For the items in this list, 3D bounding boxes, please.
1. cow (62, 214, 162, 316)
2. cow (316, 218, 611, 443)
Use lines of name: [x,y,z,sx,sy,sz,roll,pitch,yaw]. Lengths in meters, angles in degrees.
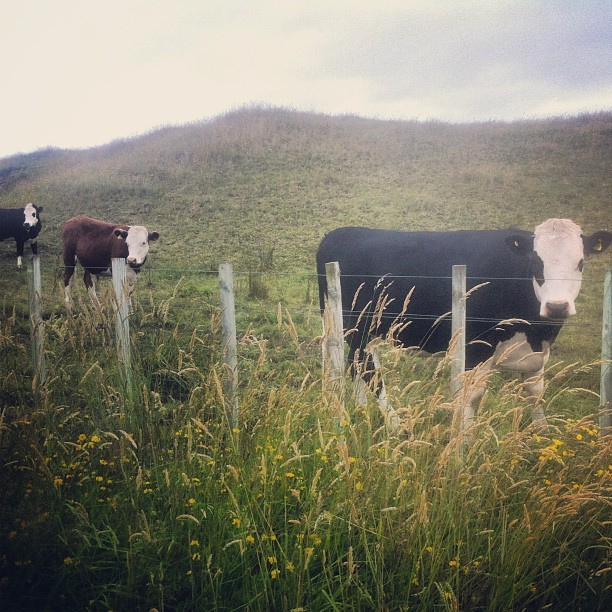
cow: [-3.203,-0.615,13.615,1.708,1.528,0.602,9,11,25]
cow: [1.324,0.009,8.957,3.368,2.685,1.530,-6,-2,41]
